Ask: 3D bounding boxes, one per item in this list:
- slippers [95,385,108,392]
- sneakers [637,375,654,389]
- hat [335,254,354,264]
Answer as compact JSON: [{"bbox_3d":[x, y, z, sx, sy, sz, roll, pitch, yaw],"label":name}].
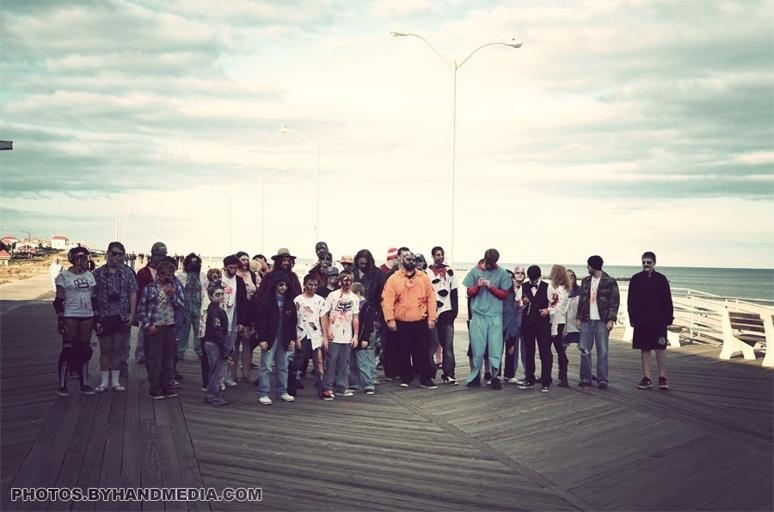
[{"bbox_3d":[-5.578,2.620,12.796,0.114,0.080,0.221,0,-7,-6],"label":"slippers"},{"bbox_3d":[5.297,2.611,13.459,0.387,0.242,0.252,-4,8,-39],"label":"sneakers"},{"bbox_3d":[-0.787,0.087,12.622,0.379,0.127,0.403,1,2,1],"label":"hat"}]
